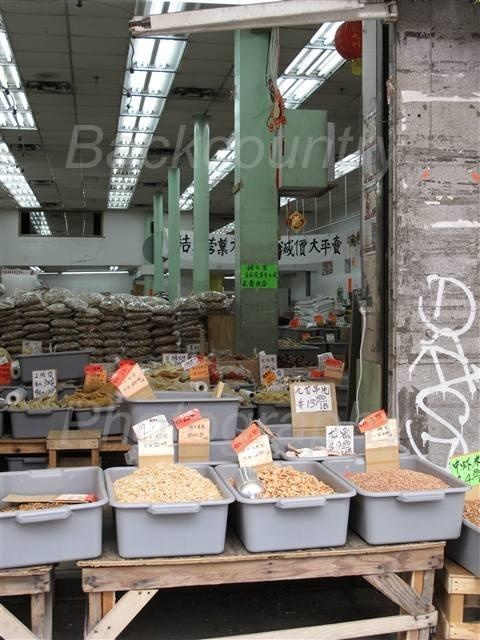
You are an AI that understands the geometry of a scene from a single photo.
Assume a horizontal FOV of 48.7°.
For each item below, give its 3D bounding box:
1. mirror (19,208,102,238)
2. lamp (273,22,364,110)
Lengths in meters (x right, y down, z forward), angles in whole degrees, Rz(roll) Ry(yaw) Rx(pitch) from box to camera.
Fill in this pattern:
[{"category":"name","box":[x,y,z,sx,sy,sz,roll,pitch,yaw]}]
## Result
[{"category":"mirror","box":[-6.305,-3.373,18.652,2.771,0.887,1.132,1,-4,-10]},{"category":"lamp","box":[0.973,-3.379,7.238,0.811,0.406,2.645,1,-3,-4]}]
